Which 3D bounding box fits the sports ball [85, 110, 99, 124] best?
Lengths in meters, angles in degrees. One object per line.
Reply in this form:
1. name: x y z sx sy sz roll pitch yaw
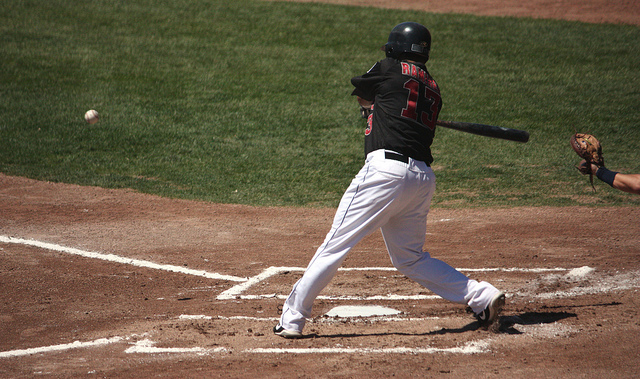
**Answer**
1. sports ball: -5.943 -1.929 26.708 0.390 0.321 0.355 -3 -6 0
